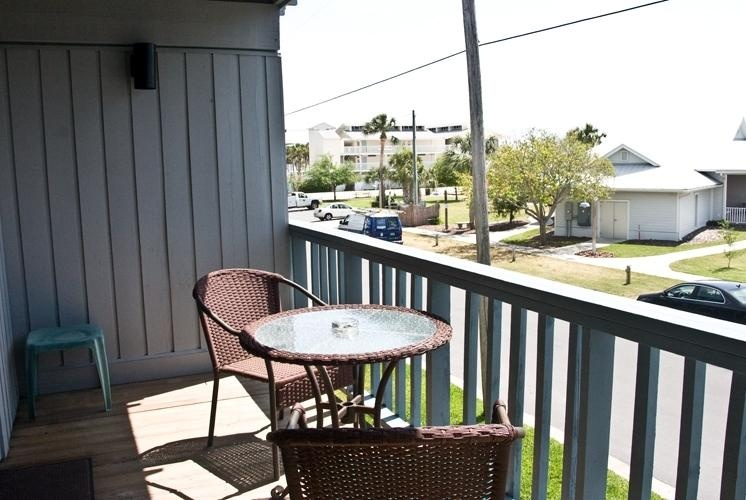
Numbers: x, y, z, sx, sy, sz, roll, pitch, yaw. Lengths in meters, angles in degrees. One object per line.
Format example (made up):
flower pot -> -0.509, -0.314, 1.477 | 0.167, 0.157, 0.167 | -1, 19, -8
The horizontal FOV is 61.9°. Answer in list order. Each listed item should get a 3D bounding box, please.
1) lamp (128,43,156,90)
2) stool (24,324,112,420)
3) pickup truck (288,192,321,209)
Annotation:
lamp -> -1.644, -1.315, 4.455 | 0.192, 0.322, 0.108 | -5, 11, -20
stool -> -2.103, 0.823, 4.278 | 0.513, 0.523, 0.458 | -5, 11, -25
pickup truck -> -5.428, -3.803, 48.640 | 2.376, 1.290, 2.388 | -3, 9, -11
